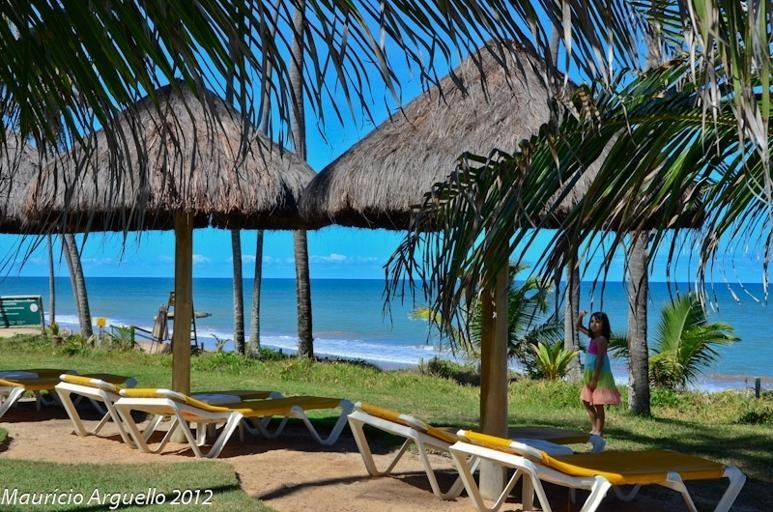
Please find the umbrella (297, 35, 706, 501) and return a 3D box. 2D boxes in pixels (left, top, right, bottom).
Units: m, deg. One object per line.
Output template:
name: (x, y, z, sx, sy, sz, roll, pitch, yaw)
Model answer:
umbrella: (1.016, 0.250, 8.884, 3.732, 4.682, 3.790, 0, 4, 40)
